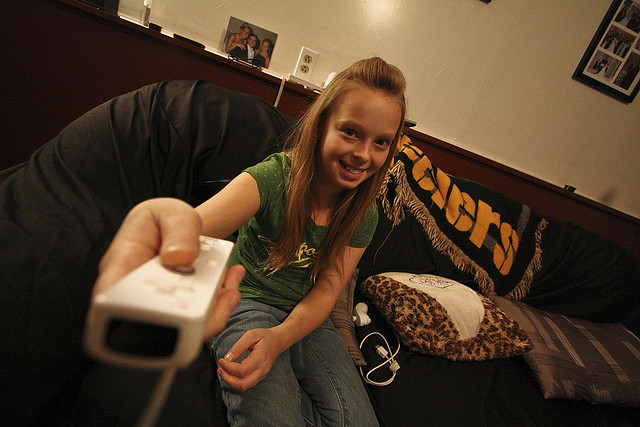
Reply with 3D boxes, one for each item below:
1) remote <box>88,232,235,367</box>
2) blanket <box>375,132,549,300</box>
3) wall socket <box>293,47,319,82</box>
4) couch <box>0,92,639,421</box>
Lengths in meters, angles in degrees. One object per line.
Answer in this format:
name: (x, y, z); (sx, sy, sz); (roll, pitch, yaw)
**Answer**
remote: (-0.397, 0.211, 1.084); (0.263, 0.304, 0.210); (18, 22, -3)
blanket: (0.665, 0.144, 2.399); (1.003, 0.307, 0.670); (35, 56, -13)
wall socket: (-0.077, -0.787, 2.300); (0.094, 0.145, 0.088); (16, 23, -9)
couch: (0.011, 0.187, 1.650); (1.570, 0.582, 0.638); (19, 46, -21)
